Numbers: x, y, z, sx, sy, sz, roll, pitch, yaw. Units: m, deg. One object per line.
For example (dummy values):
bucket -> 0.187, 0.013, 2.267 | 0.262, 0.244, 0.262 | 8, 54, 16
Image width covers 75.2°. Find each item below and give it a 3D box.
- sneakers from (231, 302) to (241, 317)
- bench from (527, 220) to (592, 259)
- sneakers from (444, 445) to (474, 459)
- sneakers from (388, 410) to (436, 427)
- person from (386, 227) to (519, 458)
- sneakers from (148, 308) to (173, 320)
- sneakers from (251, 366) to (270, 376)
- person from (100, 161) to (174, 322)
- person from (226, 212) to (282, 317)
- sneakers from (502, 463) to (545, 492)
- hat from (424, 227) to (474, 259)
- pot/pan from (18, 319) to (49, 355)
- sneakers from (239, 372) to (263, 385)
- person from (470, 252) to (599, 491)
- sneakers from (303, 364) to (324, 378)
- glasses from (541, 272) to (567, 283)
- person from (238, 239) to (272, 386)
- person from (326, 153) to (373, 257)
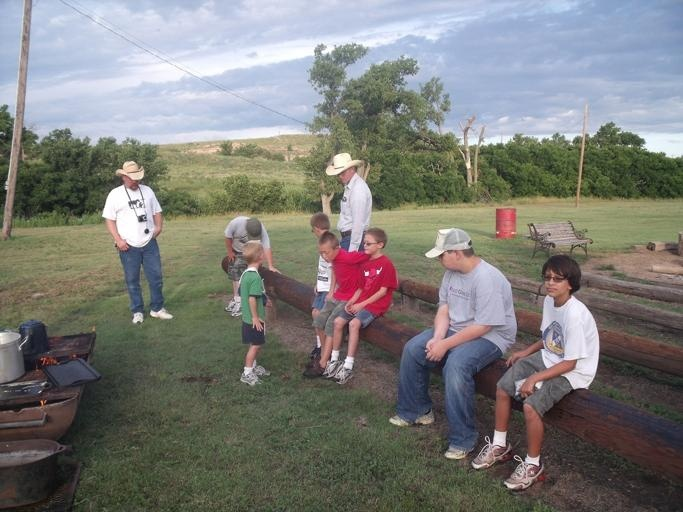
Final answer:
sneakers -> -1.649, 0.845, 7.006 | 0.093, 0.132, 0.286 | 0, -4, 12
bench -> 5.506, -0.494, 11.409 | 0.597, 0.621, 1.244 | 23, -12, -25
sneakers -> 1.001, 1.648, 3.786 | 0.256, 0.107, 0.089 | 8, -11, -28
sneakers -> 0.685, 1.549, 4.280 | 0.395, 0.195, 0.161 | 3, -1, -6
person -> 0.972, 0.698, 4.090 | 1.132, 1.824, 1.379 | -2, 4, 20
sneakers -> -2.746, 0.881, 6.801 | 0.346, 0.159, 0.153 | 1, 8, 8
sneakers -> -0.924, 1.304, 5.102 | 0.207, 0.094, 0.079 | -1, 4, 37
person -> -3.037, -0.197, 6.611 | 0.766, 2.354, 0.655 | -8, 16, -28
person -> -1.453, 0.139, 7.051 | 0.928, 1.739, 0.706 | 21, 26, 20
sneakers -> 1.398, 1.686, 3.430 | 0.380, 0.181, 0.139 | -8, -16, -33
hat -> 0.993, -0.106, 4.131 | 0.374, 0.207, 0.253 | -10, 13, 10
pot/pan -> -3.099, 0.818, 4.505 | 0.272, 0.292, 0.220 | -8, 7, -42
sneakers -> -0.991, 1.339, 4.890 | 0.241, 0.118, 0.107 | 2, 9, -3
person -> 1.553, 0.887, 3.469 | 0.763, 1.716, 0.501 | -8, 16, -29
sneakers -> -0.320, 1.295, 5.088 | 0.251, 0.114, 0.111 | -3, 16, -24
glasses -> 1.652, 0.159, 3.478 | 0.106, 0.035, 0.102 | 13, -6, -30
person -> -1.001, 0.604, 4.947 | 0.320, 1.525, 0.602 | -3, 14, -10
person -> 0.085, -0.253, 6.052 | 0.641, 2.131, 0.946 | 1, 2, 4
